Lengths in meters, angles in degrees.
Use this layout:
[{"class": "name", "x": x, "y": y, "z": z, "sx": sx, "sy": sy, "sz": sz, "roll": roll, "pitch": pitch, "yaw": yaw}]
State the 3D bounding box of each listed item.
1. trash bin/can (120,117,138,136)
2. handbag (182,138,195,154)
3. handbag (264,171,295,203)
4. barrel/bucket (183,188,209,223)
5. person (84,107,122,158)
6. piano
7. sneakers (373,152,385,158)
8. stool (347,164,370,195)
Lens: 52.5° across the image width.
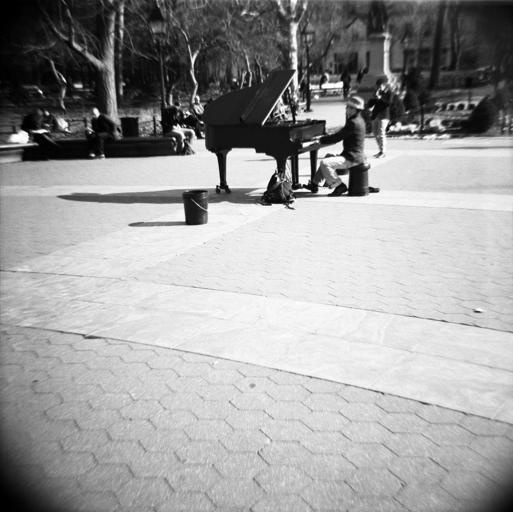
[{"class": "trash bin/can", "x": -5.602, "y": -5.659, "z": 22.969, "sx": 0.710, "sy": 0.797, "sz": 0.842, "roll": -6, "pitch": 15, "yaw": -17}, {"class": "handbag", "x": -2.717, "y": -4.232, "z": 20.440, "sx": 0.477, "sy": 0.823, "sz": 0.425, "roll": 4, "pitch": 5, "yaw": -12}, {"class": "handbag", "x": 0.397, "y": -1.286, "z": 9.842, "sx": 0.598, "sy": 0.593, "sz": 0.497, "roll": 0, "pitch": 14, "yaw": 6}, {"class": "barrel/bucket", "x": -0.967, "y": -0.818, "z": 8.367, "sx": 0.419, "sy": 0.528, "sz": 0.458, "roll": 0, "pitch": 16, "yaw": 0}, {"class": "person", "x": -5.884, "y": -4.669, "z": 19.837, "sx": 1.198, "sy": 1.859, "sz": 1.028, "roll": -4, "pitch": 14, "yaw": -11}, {"class": "piano", "x": 0.029, "y": -2.367, "z": 10.249, "sx": 2.120, "sy": 2.439, "sz": 1.364, "roll": 6, "pitch": 15, "yaw": 26}, {"class": "sneakers", "x": 3.771, "y": -3.078, "z": 15.930, "sx": 0.383, "sy": 0.175, "sz": 0.139, "roll": -16, "pitch": 18, "yaw": -41}, {"class": "stool", "x": 2.041, "y": -1.565, "z": 10.414, "sx": 0.401, "sy": 0.647, "sz": 0.492, "roll": -11, "pitch": 29, "yaw": -6}]
